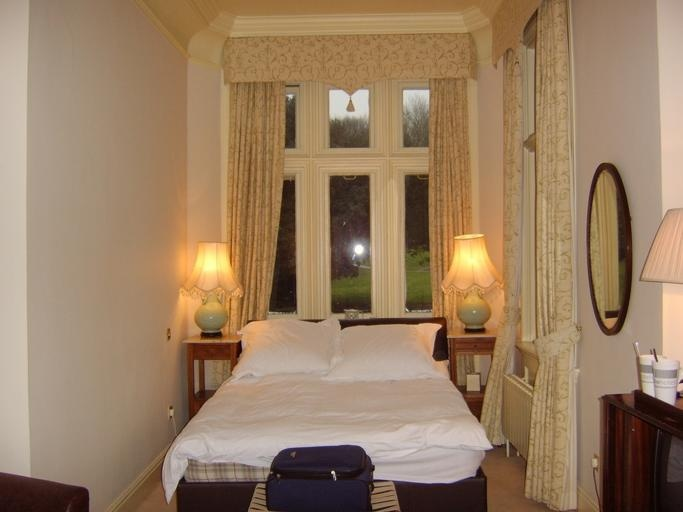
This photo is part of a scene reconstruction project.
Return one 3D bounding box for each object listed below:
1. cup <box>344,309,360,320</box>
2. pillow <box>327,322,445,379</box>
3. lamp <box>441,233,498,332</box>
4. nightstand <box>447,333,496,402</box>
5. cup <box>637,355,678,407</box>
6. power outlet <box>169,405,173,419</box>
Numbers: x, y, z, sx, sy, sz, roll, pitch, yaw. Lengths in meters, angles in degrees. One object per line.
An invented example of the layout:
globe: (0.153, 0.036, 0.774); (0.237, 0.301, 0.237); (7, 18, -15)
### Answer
cup: (0.111, 0.612, 5.783); (0.098, 0.087, 0.107); (-1, 0, 0)
pillow: (0.334, 0.861, 4.737); (0.582, 0.124, 0.525); (-5, 39, 7)
lamp: (1.227, 0.249, 5.217); (0.532, 0.910, 0.474); (-1, 4, 12)
nightstand: (1.121, 1.039, 5.248); (0.501, 0.813, 0.479); (0, -2, 1)
cup: (1.578, 0.620, 2.742); (0.147, 0.229, 0.217); (0, -4, -7)
power outlet: (-1.483, 1.356, 4.773); (0.018, 0.081, 0.050); (9, -13, -44)
